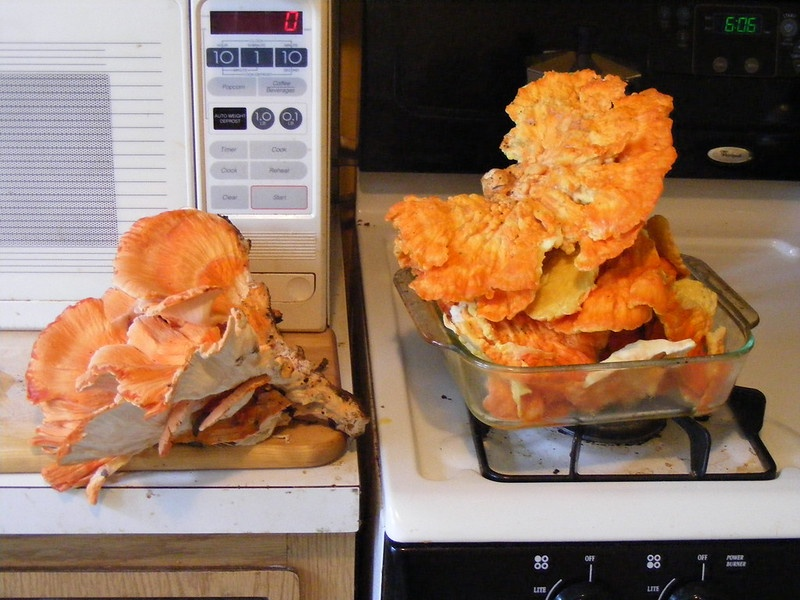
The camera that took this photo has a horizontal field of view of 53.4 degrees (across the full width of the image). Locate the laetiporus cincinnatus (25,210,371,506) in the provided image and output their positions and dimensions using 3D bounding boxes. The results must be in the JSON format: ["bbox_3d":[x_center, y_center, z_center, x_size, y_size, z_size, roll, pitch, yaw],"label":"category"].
[{"bbox_3d":[-0.251,0.052,0.878,0.326,0.273,0.218,-12,27,-24],"label":"laetiporus cincinnatus"}]

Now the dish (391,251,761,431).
[{"bbox_3d":[0.162,0.009,0.998,0.478,0.154,0.268,-3,24,-11],"label":"dish"}]

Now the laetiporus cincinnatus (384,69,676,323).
[{"bbox_3d":[0.131,-0.108,0.929,0.350,0.269,0.238,-6,32,-12],"label":"laetiporus cincinnatus"}]
